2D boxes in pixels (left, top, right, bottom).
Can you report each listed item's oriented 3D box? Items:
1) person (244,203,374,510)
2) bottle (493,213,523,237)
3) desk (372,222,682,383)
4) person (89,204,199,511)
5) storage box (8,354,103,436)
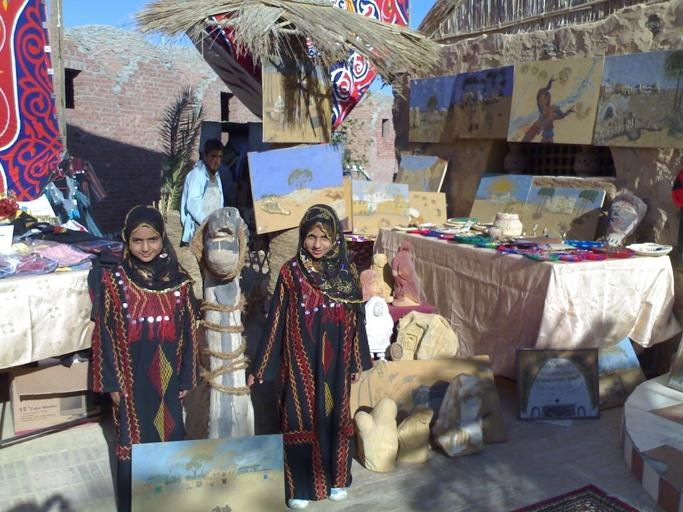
[{"bbox_3d":[-0.183,0.658,3.969,0.780,1.974,0.456,-1,11,-10],"label":"person"},{"bbox_3d":[1.661,-0.311,5.969,0.235,0.220,0.244,-2,9,-1],"label":"bottle"},{"bbox_3d":[1.723,0.497,5.697,2.373,1.138,1.160,9,14,38],"label":"desk"},{"bbox_3d":[-1.363,0.642,4.017,0.640,1.962,0.872,-9,14,-41],"label":"person"},{"bbox_3d":[-2.189,1.015,4.655,0.778,0.742,0.512,-2,8,-31],"label":"storage box"}]
